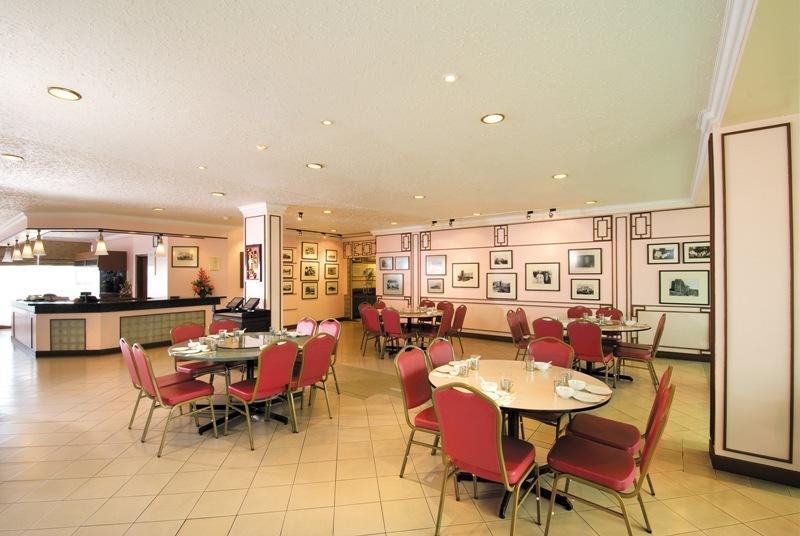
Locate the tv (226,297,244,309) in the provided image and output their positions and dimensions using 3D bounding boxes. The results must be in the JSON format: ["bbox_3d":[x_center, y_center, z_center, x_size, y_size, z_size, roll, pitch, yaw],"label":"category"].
[{"bbox_3d":[-2.945,0.627,8.731,0.289,0.205,0.787,1,-4,-19],"label":"tv"}]

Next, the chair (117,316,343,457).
[{"bbox_3d":[-1.946,1.182,5.875,1.726,0.697,1.726,-2,-2,41],"label":"chair"}]

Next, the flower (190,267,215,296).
[{"bbox_3d":[-4.461,0.308,11.070,0.476,0.658,0.716,1,-3,-17],"label":"flower"}]

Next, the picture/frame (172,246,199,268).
[{"bbox_3d":[-4.835,-0.251,10.983,0.054,0.468,0.573,-4,-3,41],"label":"picture/frame"}]

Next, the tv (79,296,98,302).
[{"bbox_3d":[-6.182,0.605,9.756,0.276,0.093,0.432,2,-4,-34],"label":"tv"}]

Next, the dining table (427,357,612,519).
[{"bbox_3d":[1.175,1.651,4.946,1.587,0.894,1.563,-6,8,-44],"label":"dining table"}]
